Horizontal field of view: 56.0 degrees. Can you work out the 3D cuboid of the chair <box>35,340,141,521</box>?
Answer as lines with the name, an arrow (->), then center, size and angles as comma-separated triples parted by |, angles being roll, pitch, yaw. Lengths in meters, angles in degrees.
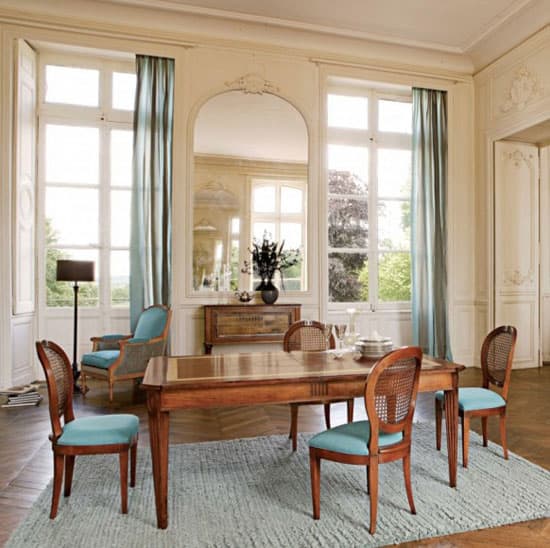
chair -> -1.076, 0.850, 3.057 | 0.522, 0.982, 0.555 | -1, 2, -15

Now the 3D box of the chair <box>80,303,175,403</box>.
chair -> -1.436, 0.788, 5.577 | 0.961, 1.277, 0.854 | 4, -4, -45

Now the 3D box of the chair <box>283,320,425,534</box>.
chair -> 0.484, 0.855, 3.272 | 0.747, 0.980, 1.240 | 0, 2, 2

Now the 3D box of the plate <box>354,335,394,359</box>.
plate -> 0.652, 0.493, 3.473 | 0.168, 0.072, 0.166 | 0, -1, -31

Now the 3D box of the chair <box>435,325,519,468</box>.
chair -> 1.466, 0.857, 3.797 | 0.534, 0.991, 0.547 | 0, 0, -26

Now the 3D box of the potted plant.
potted plant -> -0.050, -0.048, 6.544 | 0.823, 0.988, 0.716 | 1, -8, -6
